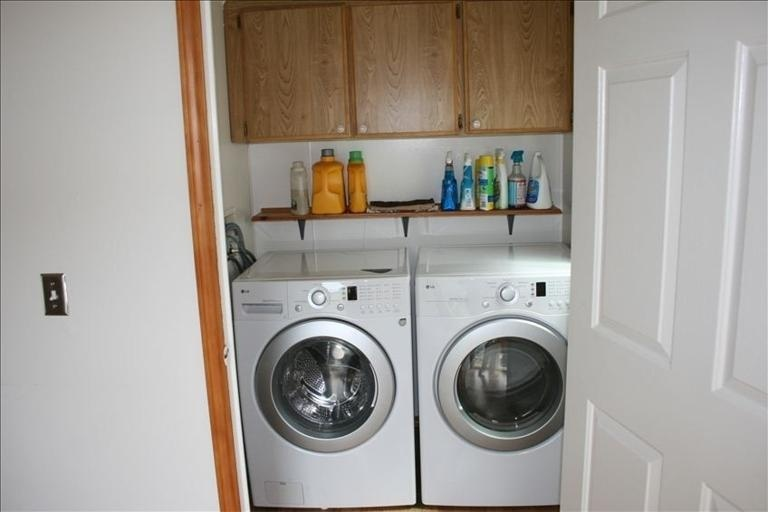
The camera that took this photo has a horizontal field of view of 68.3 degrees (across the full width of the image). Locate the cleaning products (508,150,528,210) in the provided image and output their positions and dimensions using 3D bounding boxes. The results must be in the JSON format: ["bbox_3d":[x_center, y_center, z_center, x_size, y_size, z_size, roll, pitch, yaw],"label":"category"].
[{"bbox_3d":[0.706,-0.397,2.975,0.073,0.295,0.104,3,7,41],"label":"cleaning products"}]

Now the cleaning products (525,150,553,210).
[{"bbox_3d":[0.808,-0.387,2.960,0.126,0.293,0.087,0,6,17],"label":"cleaning products"}]

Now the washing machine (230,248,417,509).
[{"bbox_3d":[-0.268,0.593,3.037,1.025,1.449,1.072,0,4,1],"label":"washing machine"}]

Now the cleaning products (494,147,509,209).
[{"bbox_3d":[0.615,-0.399,2.964,0.067,0.317,0.088,1,6,22],"label":"cleaning products"}]

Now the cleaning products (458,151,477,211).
[{"bbox_3d":[0.439,-0.388,2.995,0.087,0.305,0.187,-1,5,8],"label":"cleaning products"}]

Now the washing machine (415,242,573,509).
[{"bbox_3d":[0.491,0.567,3.002,1.036,1.485,1.034,0,5,-1],"label":"washing machine"}]

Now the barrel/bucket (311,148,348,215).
[{"bbox_3d":[-0.297,-0.399,3.011,0.227,0.321,0.221,0,20,0],"label":"barrel/bucket"}]

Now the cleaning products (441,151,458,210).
[{"bbox_3d":[0.340,-0.387,2.973,0.094,0.313,0.112,-1,5,8],"label":"cleaning products"}]
